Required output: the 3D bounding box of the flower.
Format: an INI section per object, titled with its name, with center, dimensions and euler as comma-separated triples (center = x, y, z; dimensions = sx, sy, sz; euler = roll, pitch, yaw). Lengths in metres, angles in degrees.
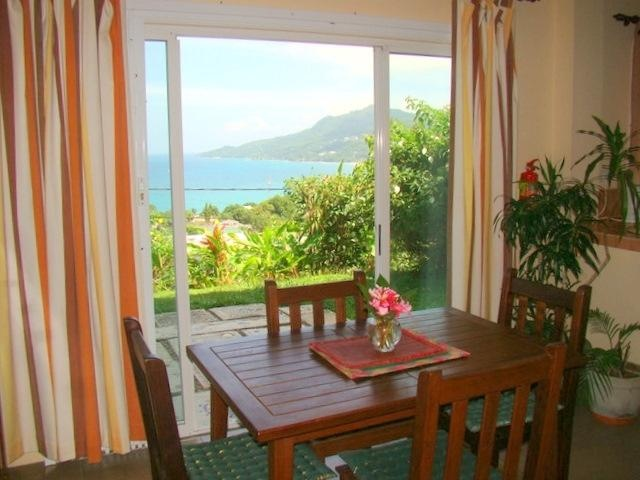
[flower]
center = 0.295, 0.337, 2.411
dimensions = 0.238, 0.321, 0.229
euler = 3, 8, 45
